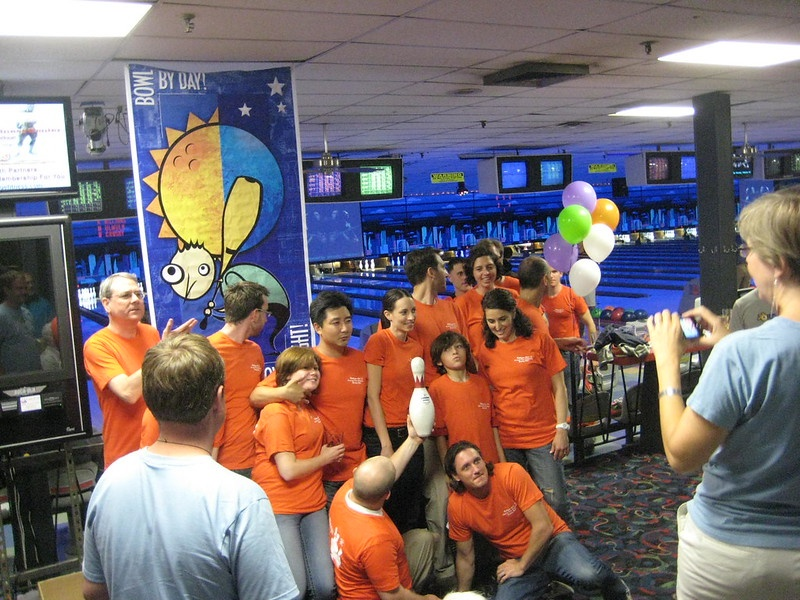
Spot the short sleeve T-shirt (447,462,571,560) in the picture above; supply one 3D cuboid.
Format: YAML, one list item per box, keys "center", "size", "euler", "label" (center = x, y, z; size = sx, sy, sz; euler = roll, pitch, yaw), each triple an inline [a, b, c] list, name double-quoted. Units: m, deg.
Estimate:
- center: [0.489, 0.911, 3.100]
  size: [0.472, 0.449, 0.459]
  euler: [-3, -4, 0]
  label: "short sleeve T-shirt"

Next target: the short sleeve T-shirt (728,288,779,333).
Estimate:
- center: [1.942, 0.077, 3.683]
  size: [0.128, 0.267, 0.306]
  euler: [23, -15, 20]
  label: "short sleeve T-shirt"

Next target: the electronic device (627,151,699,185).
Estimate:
- center: [3.758, -1.894, 9.476]
  size: [0.923, 0.512, 0.438]
  euler: [-4, 4, -18]
  label: "electronic device"

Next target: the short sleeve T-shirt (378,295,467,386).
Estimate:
- center: [0.109, 0.220, 3.322]
  size: [0.231, 0.399, 0.432]
  euler: [-26, -17, 38]
  label: "short sleeve T-shirt"

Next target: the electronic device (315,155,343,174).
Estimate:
- center: [-0.741, -1.379, 6.724]
  size: [0.287, 0.177, 0.283]
  euler: [1, 8, 15]
  label: "electronic device"

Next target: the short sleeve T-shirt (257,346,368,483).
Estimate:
- center: [-0.315, 0.526, 3.159]
  size: [0.233, 0.594, 0.765]
  euler: [6, 6, 44]
  label: "short sleeve T-shirt"

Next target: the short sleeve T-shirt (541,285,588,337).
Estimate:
- center: [1.203, 0.092, 4.861]
  size: [0.427, 0.372, 0.215]
  euler: [-1, -5, -5]
  label: "short sleeve T-shirt"

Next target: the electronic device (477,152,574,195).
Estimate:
- center: [1.689, -1.670, 8.793]
  size: [1.124, 0.529, 0.481]
  euler: [-4, 4, -16]
  label: "electronic device"

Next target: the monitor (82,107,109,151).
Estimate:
- center: [-2.085, -1.186, 4.544]
  size: [0.163, 0.354, 0.301]
  euler: [-5, 4, -24]
  label: "monitor"

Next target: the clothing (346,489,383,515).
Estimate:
- center: [-0.140, 0.816, 2.668]
  size: [0.113, 0.046, 0.085]
  euler: [28, 10, -32]
  label: "clothing"

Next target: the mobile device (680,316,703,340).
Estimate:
- center: [1.623, 0.161, 3.679]
  size: [0.121, 0.037, 0.152]
  euler: [5, 40, 4]
  label: "mobile device"

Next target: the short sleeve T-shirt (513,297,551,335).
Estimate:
- center: [0.746, 0.093, 3.757]
  size: [0.128, 0.225, 0.173]
  euler: [-27, 22, 0]
  label: "short sleeve T-shirt"
